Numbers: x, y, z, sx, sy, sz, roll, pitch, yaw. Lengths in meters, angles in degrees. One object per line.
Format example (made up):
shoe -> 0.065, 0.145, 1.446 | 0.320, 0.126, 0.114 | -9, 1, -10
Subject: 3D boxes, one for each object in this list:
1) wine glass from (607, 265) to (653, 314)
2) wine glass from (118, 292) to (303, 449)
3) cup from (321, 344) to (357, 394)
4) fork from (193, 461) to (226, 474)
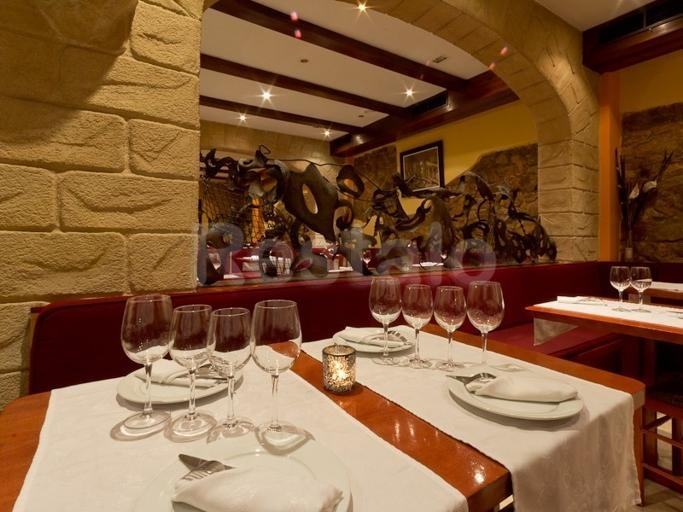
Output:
wine glass -> 1.551, 0.183, 2.396 | 0.243, 0.353, 0.124 | -1, -3, 19
wine glass -> -0.346, 0.318, 1.183 | 0.314, 0.294, 0.119 | 1, 1, 9
cup -> -0.004, 0.334, 1.328 | 0.105, 0.129, 0.111 | 0, -1, 0
fork -> -0.290, 0.467, 0.993 | 0.030, 0.010, 0.032 | 2, -1, -36
